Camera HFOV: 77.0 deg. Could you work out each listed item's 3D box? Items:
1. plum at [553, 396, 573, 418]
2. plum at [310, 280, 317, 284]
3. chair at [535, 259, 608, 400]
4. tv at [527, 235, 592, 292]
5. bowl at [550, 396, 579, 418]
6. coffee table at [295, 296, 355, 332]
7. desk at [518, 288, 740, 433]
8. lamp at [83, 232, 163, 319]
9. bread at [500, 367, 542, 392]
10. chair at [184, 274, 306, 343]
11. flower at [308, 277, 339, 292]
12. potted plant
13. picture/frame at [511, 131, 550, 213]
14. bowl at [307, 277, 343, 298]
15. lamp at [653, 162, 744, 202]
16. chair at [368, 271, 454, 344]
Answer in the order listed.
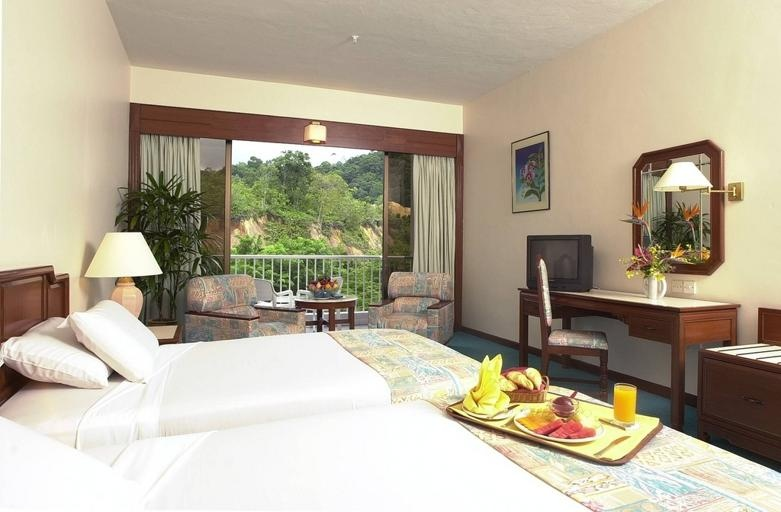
[{"bbox_3d":[0.866,0.741,2.457,0.090,0.077,0.095,2,5,18],"label":"plum"},{"bbox_3d":[-0.911,0.303,5.786,0.077,0.044,0.095,0,5,-9],"label":"plum"},{"bbox_3d":[1.704,0.697,4.602,0.678,1.216,0.671,3,-2,22],"label":"chair"},{"bbox_3d":[1.843,0.087,5.178,0.411,0.630,0.742,-1,2,-29],"label":"tv"},{"bbox_3d":[0.874,0.738,2.453,0.105,0.070,0.107,-2,1,0],"label":"bowl"},{"bbox_3d":[-0.726,0.592,5.608,0.571,0.592,0.573,5,-8,-43],"label":"coffee table"},{"bbox_3d":[2.094,0.817,4.694,0.675,0.938,1.942,-1,2,-22],"label":"desk"},{"bbox_3d":[-2.244,0.135,4.399,0.717,0.802,0.696,-2,4,-23],"label":"lamp"},{"bbox_3d":[0.717,0.661,2.645,0.143,0.041,0.140,-7,3,-41],"label":"bread"},{"bbox_3d":[-1.519,0.667,5.184,0.945,0.832,0.913,2,1,17],"label":"chair"},{"bbox_3d":[-0.767,0.323,5.547,0.215,0.101,0.223,2,-5,-36],"label":"flower"},{"bbox_3d":[-2.608,-0.100,5.602,0.859,1.472,0.926,16,-6,-42],"label":"potted plant"},{"bbox_3d":[1.673,-0.985,5.887,0.064,0.933,0.664,-2,6,-25],"label":"picture/frame"},{"bbox_3d":[-0.765,0.359,5.560,0.295,0.160,0.282,-2,-4,0],"label":"bowl"},{"bbox_3d":[2.483,-0.597,4.012,0.544,0.243,0.354,1,-2,-4],"label":"lamp"},{"bbox_3d":[0.279,0.658,6.124,0.994,0.884,0.952,0,1,7],"label":"chair"}]
